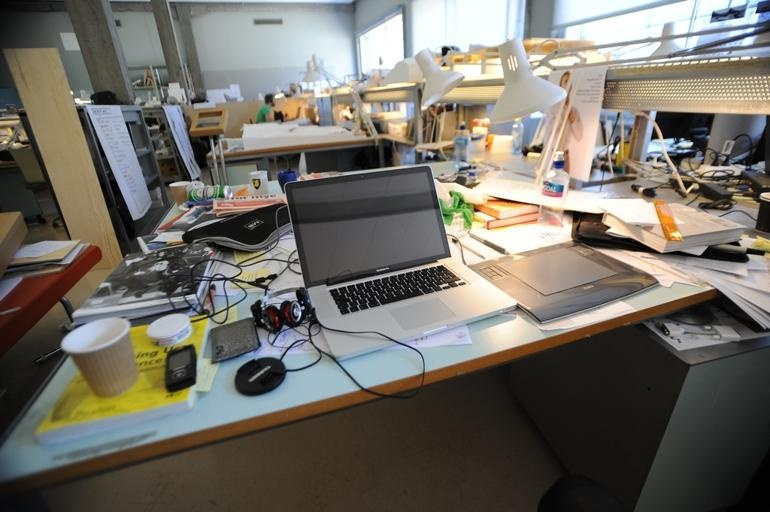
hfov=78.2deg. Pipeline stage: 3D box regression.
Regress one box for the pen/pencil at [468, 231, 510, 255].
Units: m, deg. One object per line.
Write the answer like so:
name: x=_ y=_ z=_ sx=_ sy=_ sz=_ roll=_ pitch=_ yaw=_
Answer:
pen/pencil: x=0.445 y=-0.054 z=2.014 sx=0.025 sy=0.025 sz=0.194 roll=24 pitch=8 yaw=-36

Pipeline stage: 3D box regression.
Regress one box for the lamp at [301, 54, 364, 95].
lamp: x=-0.548 y=-1.835 z=4.820 sx=0.623 sy=0.235 sz=0.230 roll=2 pitch=8 yaw=-22

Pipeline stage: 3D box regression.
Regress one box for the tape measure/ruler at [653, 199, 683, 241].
tape measure/ruler: x=1.131 y=-0.140 z=1.896 sx=0.079 sy=0.026 sz=0.234 roll=-4 pitch=47 yaw=5

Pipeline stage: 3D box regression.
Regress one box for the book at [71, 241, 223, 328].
book: x=-0.896 y=0.104 z=1.846 sx=0.357 sy=0.081 sz=0.347 roll=-7 pitch=33 yaw=3

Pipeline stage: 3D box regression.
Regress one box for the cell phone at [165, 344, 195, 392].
cell phone: x=-0.681 y=0.348 z=1.563 sx=0.099 sy=0.153 sz=0.035 roll=-17 pitch=28 yaw=-33

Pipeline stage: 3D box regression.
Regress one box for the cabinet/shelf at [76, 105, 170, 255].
cabinet/shelf: x=-1.841 y=-0.523 z=3.299 sx=0.382 sy=0.960 sz=1.052 roll=-18 pitch=34 yaw=-12

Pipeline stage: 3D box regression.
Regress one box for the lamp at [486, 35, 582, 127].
lamp: x=0.591 y=-0.742 z=1.997 sx=0.304 sy=0.316 sz=0.220 roll=-5 pitch=26 yaw=-3

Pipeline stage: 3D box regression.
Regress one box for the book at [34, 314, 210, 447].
book: x=-0.852 y=0.421 z=1.686 sx=0.509 sy=0.101 sz=0.531 roll=-10 pitch=26 yaw=4

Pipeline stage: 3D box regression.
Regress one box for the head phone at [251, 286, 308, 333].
head phone: x=-0.376 y=0.187 z=1.747 sx=0.197 sy=0.077 sz=0.213 roll=-20 pitch=23 yaw=-11

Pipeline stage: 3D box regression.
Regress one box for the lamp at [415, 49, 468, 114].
lamp: x=0.265 y=-0.867 z=2.316 sx=0.210 sy=0.266 sz=0.285 roll=-5 pitch=26 yaw=-3

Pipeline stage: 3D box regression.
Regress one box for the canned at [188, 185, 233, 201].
canned: x=-0.929 y=-0.350 z=2.535 sx=0.198 sy=0.075 sz=0.106 roll=-1 pitch=27 yaw=-5
